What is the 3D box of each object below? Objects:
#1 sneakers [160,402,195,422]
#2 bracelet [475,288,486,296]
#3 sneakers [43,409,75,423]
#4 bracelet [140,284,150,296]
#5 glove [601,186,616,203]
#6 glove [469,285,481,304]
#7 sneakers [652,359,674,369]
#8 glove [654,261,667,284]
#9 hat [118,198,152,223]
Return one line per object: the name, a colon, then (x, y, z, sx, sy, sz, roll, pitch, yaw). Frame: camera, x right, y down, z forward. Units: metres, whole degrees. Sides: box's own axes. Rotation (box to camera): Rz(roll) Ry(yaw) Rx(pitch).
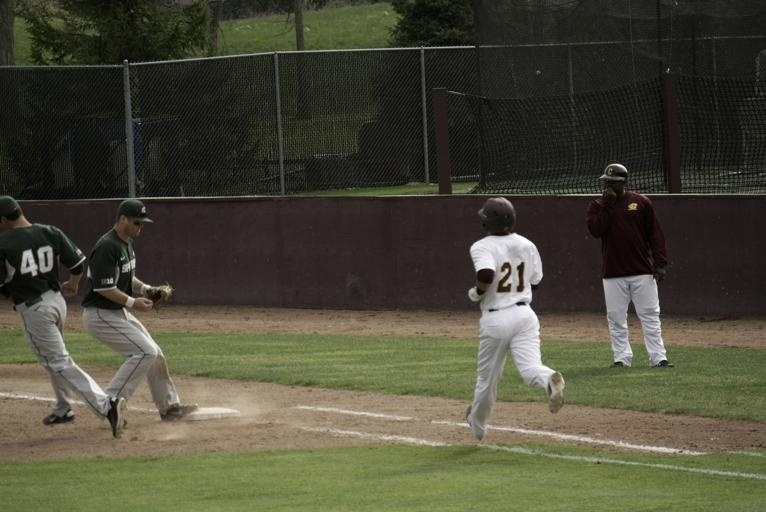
sneakers: (-3.462, 2.597, 25.219, 0.684, 0.243, 0.217, -11, 13, -26)
bracelet: (1.506, 0.564, 23.586, 0.136, 0.118, 0.138, 1, 6, -6)
sneakers: (-5.464, 2.700, 25.168, 0.523, 0.208, 0.196, 3, 3, -10)
bracelet: (-4.000, 0.572, 25.190, 0.173, 0.149, 0.190, -1, 2, 0)
glove: (4.050, -1.103, 27.187, 0.281, 0.257, 0.199, 19, 6, 4)
glove: (1.420, 0.599, 23.687, 0.246, 0.269, 0.291, 0, -7, -1)
sneakers: (5.041, 1.949, 27.093, 0.343, 0.111, 0.159, 3, -2, -3)
glove: (5.070, 0.312, 27.209, 0.184, 0.409, 0.334, 9, 3, -22)
hat: (-4.188, -0.744, 24.886, 0.459, 0.353, 0.513, -1, 3, -9)
